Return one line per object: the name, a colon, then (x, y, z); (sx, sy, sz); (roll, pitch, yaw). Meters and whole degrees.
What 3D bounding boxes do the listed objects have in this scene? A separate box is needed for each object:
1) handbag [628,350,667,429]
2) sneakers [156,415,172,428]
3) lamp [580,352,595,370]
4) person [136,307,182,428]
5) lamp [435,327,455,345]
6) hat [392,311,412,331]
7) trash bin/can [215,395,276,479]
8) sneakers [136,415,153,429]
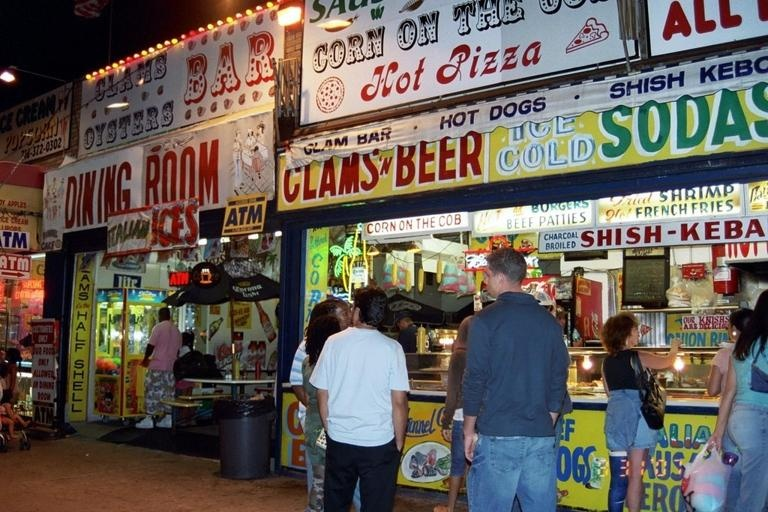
handbag: (3.152, 1.607, 8.356); (0.404, 0.909, 0.159); (3, -8, -19)
sneakers: (-4.394, 3.307, 14.173); (0.261, 0.235, 0.316); (5, -9, -30)
lamp: (3.038, 1.596, 10.590); (0.193, 0.270, 0.198); (2, -8, -2)
person: (-4.510, 2.375, 14.293); (0.769, 2.130, 0.418); (3, -8, -18)
lamp: (1.178, 1.516, 13.367); (0.399, 0.278, 0.223); (6, -19, -23)
hat: (0.387, 1.337, 14.643); (0.395, 0.390, 0.335); (-2, -5, 25)
trash bin/can: (-2.163, 2.789, 11.061); (1.055, 1.242, 1.043); (-2, -4, 7)
sneakers: (-4.818, 3.310, 14.102); (0.405, 0.308, 0.184); (2, -7, 23)
